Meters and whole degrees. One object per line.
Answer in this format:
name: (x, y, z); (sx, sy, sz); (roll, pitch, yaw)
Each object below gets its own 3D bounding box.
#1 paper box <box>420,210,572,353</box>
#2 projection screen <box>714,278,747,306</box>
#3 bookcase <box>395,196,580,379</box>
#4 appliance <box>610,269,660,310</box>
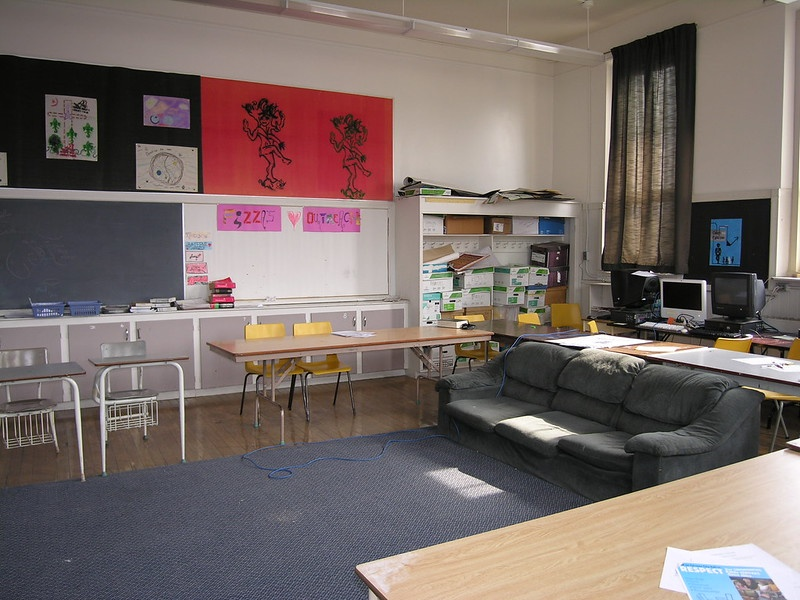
paper box: (1.244, -0.254, 7.628); (2.509, 1.812, 0.688); (-2, 3, -25)
projection screen: (3.751, -0.095, 6.313); (0.195, 0.278, 0.340); (-5, 3, -22)
bookcase: (1.295, -0.468, 8.110); (2.291, 1.721, 0.603); (-3, -7, 3)
appliance: (3.051, -0.125, 7.204); (0.400, 0.411, 0.514); (-6, 9, -34)
